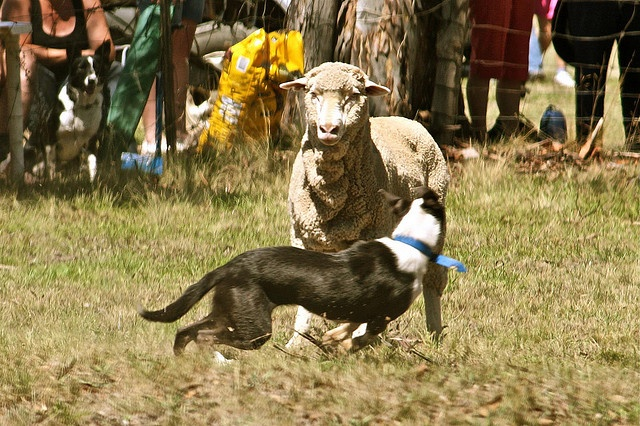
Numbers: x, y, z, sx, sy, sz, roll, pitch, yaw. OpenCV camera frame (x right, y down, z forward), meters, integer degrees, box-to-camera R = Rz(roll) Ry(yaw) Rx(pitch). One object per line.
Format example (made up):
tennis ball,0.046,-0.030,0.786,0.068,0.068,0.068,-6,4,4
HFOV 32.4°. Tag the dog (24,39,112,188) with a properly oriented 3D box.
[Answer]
dog,-3.093,-1.145,13.574,0.723,1.573,2.331,5,-2,-24

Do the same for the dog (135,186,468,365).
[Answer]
dog,-0.139,0.617,9.811,2.282,1.373,0.667,-6,33,-10

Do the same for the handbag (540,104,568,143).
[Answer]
handbag,2.860,-1.185,13.789,0.323,0.241,0.658,-25,-19,1
